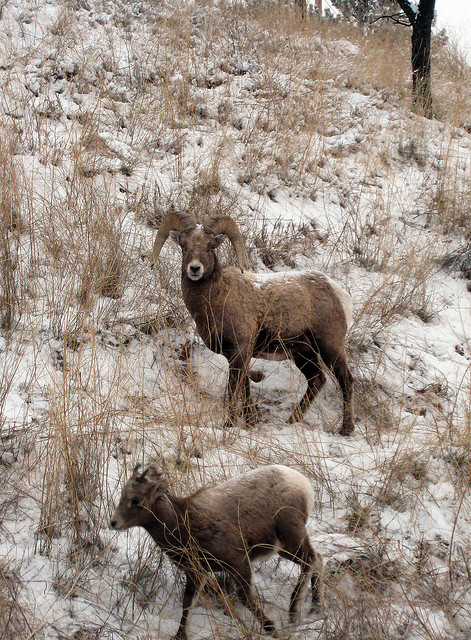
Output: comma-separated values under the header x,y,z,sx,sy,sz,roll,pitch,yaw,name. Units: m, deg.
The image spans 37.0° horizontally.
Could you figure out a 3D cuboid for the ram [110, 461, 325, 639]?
x,y,z,sx,sy,sz,roll,pitch,yaw,name
-0.053,1.126,3.527,1.085,0.690,0.654,-2,24,-21,ram
